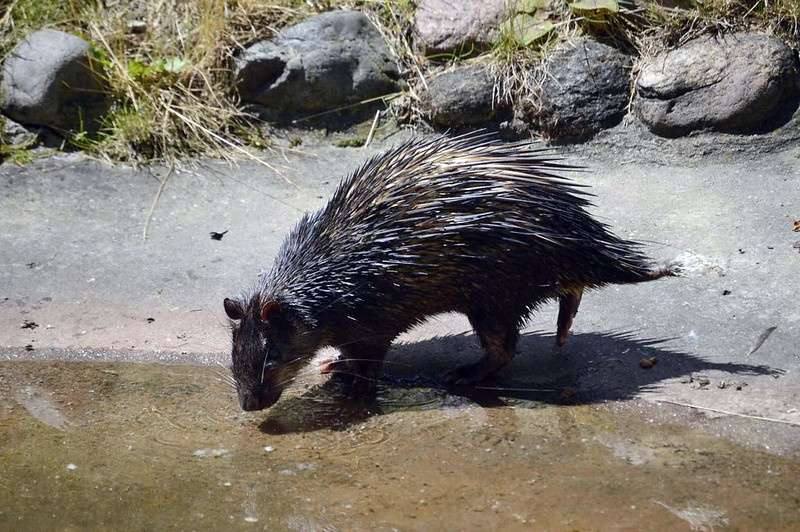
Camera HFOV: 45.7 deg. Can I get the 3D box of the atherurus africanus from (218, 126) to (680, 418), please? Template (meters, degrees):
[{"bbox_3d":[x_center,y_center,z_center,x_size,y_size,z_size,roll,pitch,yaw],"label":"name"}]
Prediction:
[{"bbox_3d":[0.226,0.131,9.410,3.892,1.905,1.807,-20,51,-13],"label":"atherurus africanus"}]
